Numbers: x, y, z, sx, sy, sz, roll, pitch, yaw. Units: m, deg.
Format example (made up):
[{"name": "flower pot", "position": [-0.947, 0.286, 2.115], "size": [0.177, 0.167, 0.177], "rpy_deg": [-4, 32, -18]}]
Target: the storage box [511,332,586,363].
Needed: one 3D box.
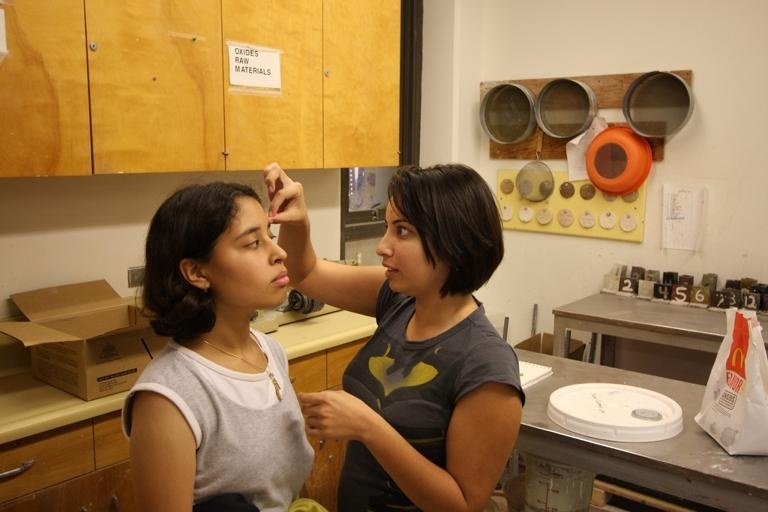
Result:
[{"name": "storage box", "position": [1.265, 0.694, 4.225], "size": [0.339, 0.206, 0.326], "rpy_deg": [6, 5, 36]}]

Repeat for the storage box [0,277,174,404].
[{"name": "storage box", "position": [-1.382, 0.328, 2.582], "size": [0.639, 0.233, 0.663], "rpy_deg": [28, 19, 33]}]
